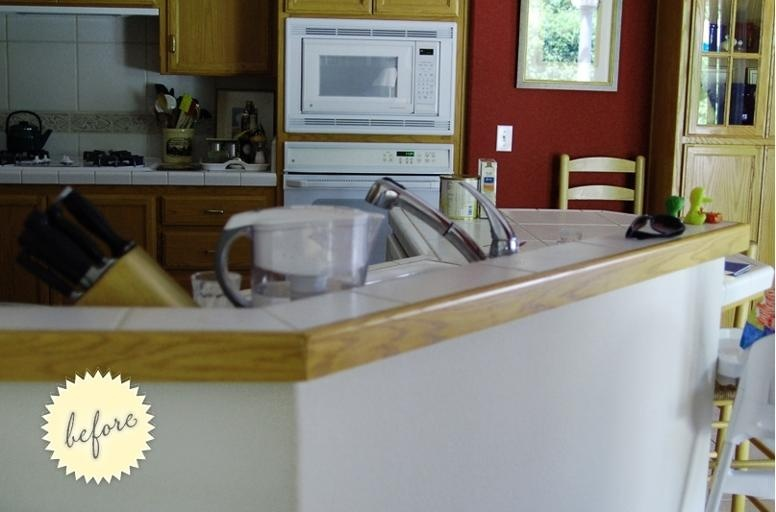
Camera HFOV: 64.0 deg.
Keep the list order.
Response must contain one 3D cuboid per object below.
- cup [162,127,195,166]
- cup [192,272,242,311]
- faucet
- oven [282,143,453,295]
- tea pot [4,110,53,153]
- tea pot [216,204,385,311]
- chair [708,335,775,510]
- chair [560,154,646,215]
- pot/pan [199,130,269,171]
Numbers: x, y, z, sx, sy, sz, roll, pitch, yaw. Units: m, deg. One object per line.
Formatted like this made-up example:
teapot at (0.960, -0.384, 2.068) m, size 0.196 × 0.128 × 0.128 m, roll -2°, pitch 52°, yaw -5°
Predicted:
cup at (-1.242, -0.635, 3.680) m, size 0.230 × 0.244 × 0.229 m, roll 0°, pitch 6°, yaw 0°
cup at (-0.282, 0.052, 1.044) m, size 0.073 × 0.055 × 0.066 m, roll 2°, pitch 9°, yaw 16°
faucet at (0.104, -0.065, 1.391) m, size 0.350 × 0.221 × 0.163 m, roll 7°, pitch 3°, yaw -16°
oven at (-0.120, -0.136, 3.493) m, size 0.909 × 0.824 × 0.626 m, roll 0°, pitch 1°, yaw -2°
tea pot at (-2.087, -0.715, 3.572) m, size 0.253 × 0.237 × 0.482 m, roll -8°, pitch 15°, yaw -27°
tea pot at (-0.139, -0.005, 0.966) m, size 0.270 × 0.228 × 0.154 m, roll -2°, pitch 6°, yaw -19°
chair at (0.965, 0.413, 1.617) m, size 0.123 × 0.489 × 0.273 m, roll 11°, pitch 18°, yaw 42°
chair at (1.306, -0.437, 3.744) m, size 0.602 × 0.362 × 0.218 m, roll -2°, pitch 13°, yaw -7°
pot/pan at (-0.867, -0.564, 3.536) m, size 0.282 × 0.165 × 0.341 m, roll 1°, pitch 6°, yaw -2°
